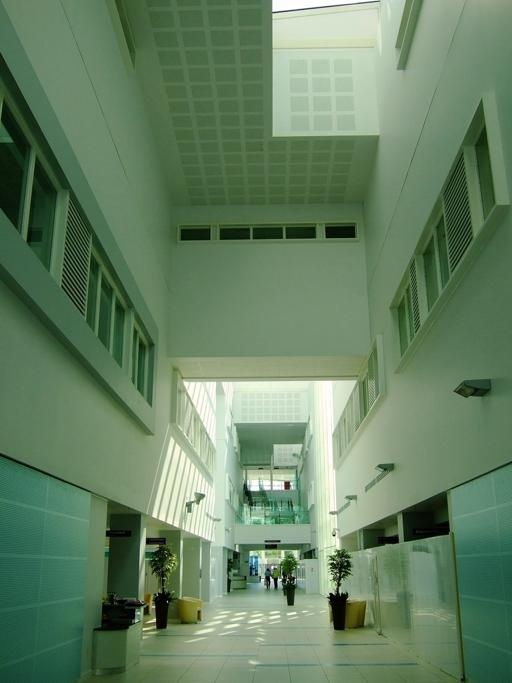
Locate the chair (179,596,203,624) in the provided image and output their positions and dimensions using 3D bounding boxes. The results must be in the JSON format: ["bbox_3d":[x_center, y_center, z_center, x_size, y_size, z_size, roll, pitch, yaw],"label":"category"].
[{"bbox_3d":[-2.071,8.248,15.536,0.568,0.953,0.884,-2,-22,4],"label":"chair"}]

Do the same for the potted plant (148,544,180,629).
[{"bbox_3d":[-2.805,7.404,15.289,0.679,2.279,3.075,3,-26,-8],"label":"potted plant"}]

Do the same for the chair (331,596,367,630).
[{"bbox_3d":[2.643,7.263,13.470,0.289,0.687,1.114,-14,-30,33],"label":"chair"}]

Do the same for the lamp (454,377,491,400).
[{"bbox_3d":[2.181,0.482,5.113,0.304,0.142,0.485,-5,-29,9],"label":"lamp"}]
